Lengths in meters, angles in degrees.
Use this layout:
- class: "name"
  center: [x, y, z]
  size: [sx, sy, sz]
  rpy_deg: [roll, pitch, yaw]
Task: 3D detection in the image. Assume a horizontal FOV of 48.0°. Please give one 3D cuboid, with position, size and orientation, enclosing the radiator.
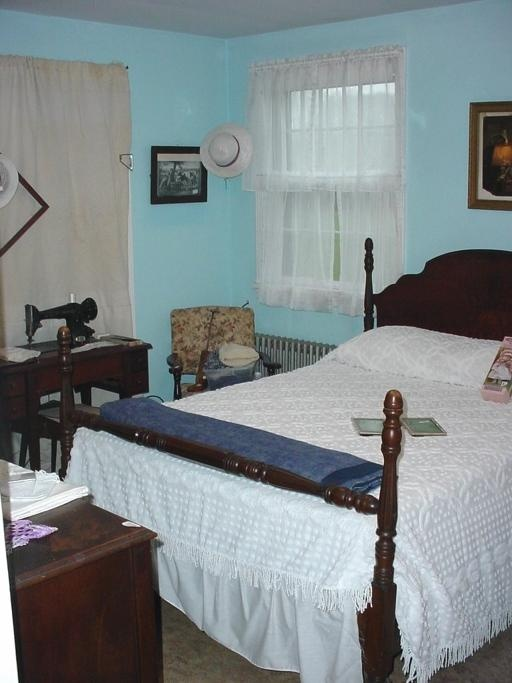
- class: "radiator"
  center: [0.334, 0.120, 4.683]
  size: [0.130, 0.398, 0.882]
  rpy_deg: [-13, 22, -38]

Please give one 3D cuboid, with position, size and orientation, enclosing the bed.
- class: "bed"
  center: [0.585, 0.406, 3.298]
  size: [1.860, 1.842, 2.187]
  rpy_deg: [9, 11, 39]

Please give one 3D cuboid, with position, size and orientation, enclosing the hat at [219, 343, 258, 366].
- class: "hat"
  center: [-0.145, 0.116, 4.587]
  size: [0.229, 0.057, 0.186]
  rpy_deg: [19, 13, -18]

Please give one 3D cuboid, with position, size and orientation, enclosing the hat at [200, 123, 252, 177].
- class: "hat"
  center: [-0.271, -1.636, 4.913]
  size: [0.456, 0.425, 0.212]
  rpy_deg: [2, 7, 3]

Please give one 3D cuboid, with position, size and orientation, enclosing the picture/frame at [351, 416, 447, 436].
- class: "picture/frame"
  center: [0.671, 0.403, 2.743]
  size: [0.421, 0.047, 0.269]
  rpy_deg: [2, 8, 5]
